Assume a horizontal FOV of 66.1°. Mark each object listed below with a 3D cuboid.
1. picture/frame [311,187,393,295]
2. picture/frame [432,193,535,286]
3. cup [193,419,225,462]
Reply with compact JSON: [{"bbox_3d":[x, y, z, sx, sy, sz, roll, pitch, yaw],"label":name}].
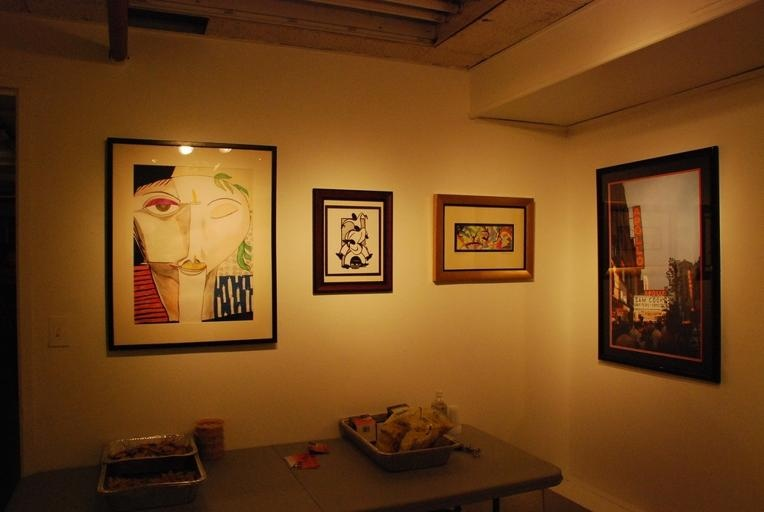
[{"bbox_3d":[-0.229,-0.105,3.965,0.685,0.899,0.061,1,0,-15],"label":"picture/frame"},{"bbox_3d":[0.697,-0.123,4.257,0.651,0.565,0.055,0,-2,-17],"label":"picture/frame"},{"bbox_3d":[-1.026,1.080,3.526,0.201,0.229,0.208,1,-5,0],"label":"cup"}]
